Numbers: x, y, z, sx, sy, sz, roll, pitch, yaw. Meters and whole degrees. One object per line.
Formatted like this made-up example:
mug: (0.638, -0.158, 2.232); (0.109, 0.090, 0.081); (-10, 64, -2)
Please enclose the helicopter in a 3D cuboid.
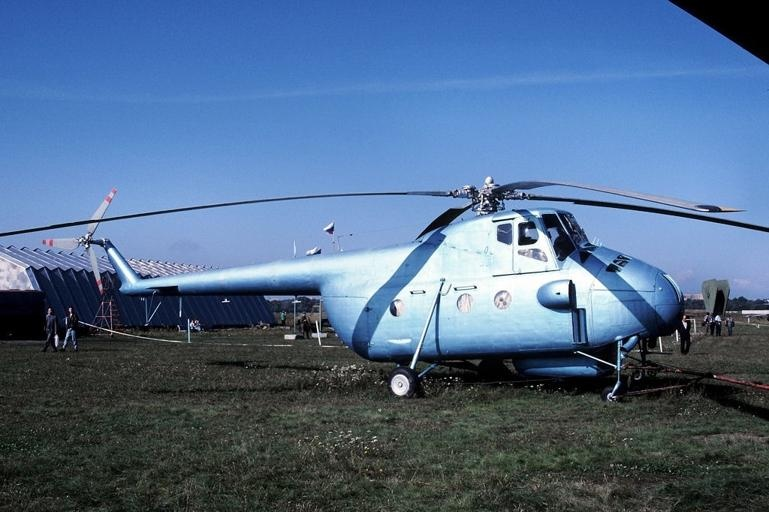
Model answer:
helicopter: (1.433, 1.134, 19.740); (11.173, 3.495, 10.106); (-2, 5, 19)
